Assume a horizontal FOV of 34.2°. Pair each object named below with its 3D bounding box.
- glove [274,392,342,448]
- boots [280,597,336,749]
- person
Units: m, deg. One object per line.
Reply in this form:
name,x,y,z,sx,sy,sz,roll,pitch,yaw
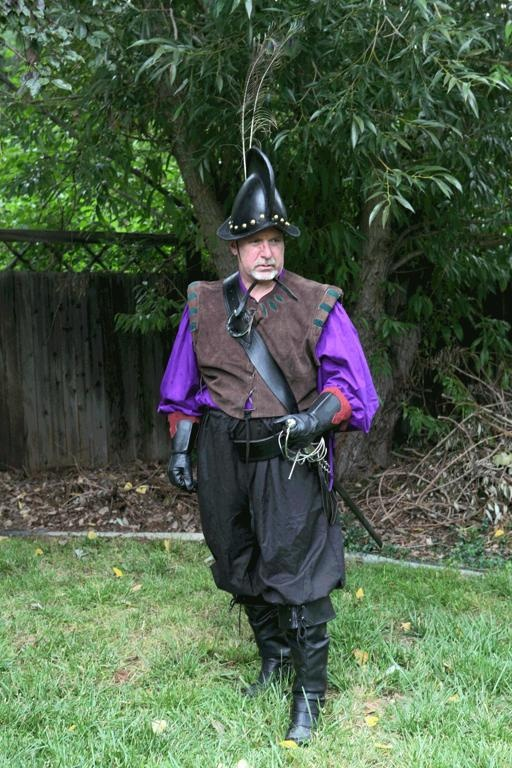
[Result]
glove,0.189,0.104,2.614,0.219,0.101,0.132,-28,28,-5
boots,0.146,0.901,2.658,0.154,0.423,0.191,0,3,21
person,0.055,0.161,2.871,0.446,1.886,0.653,-3,4,-42
